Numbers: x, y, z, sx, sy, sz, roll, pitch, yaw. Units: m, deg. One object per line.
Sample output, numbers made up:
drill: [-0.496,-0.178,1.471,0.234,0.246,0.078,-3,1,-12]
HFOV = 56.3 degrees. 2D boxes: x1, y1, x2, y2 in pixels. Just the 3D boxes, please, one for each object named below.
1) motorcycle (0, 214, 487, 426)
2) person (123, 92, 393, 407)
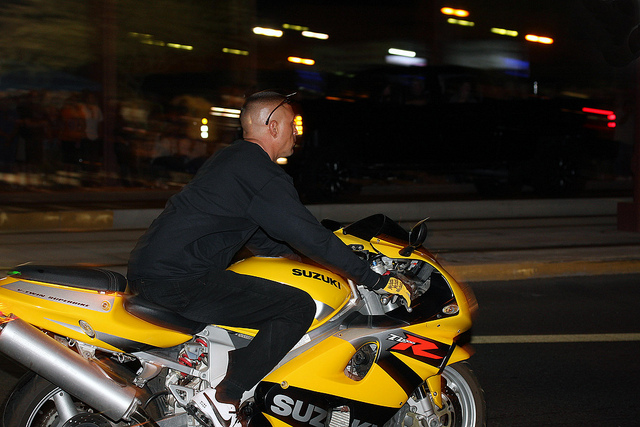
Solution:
motorcycle: [-0.209,0.783,4.813,3.680,1.855,1.325,-2,10,-10]
person: [-0.525,0.222,3.995,1.498,2.029,0.790,-4,13,-17]
